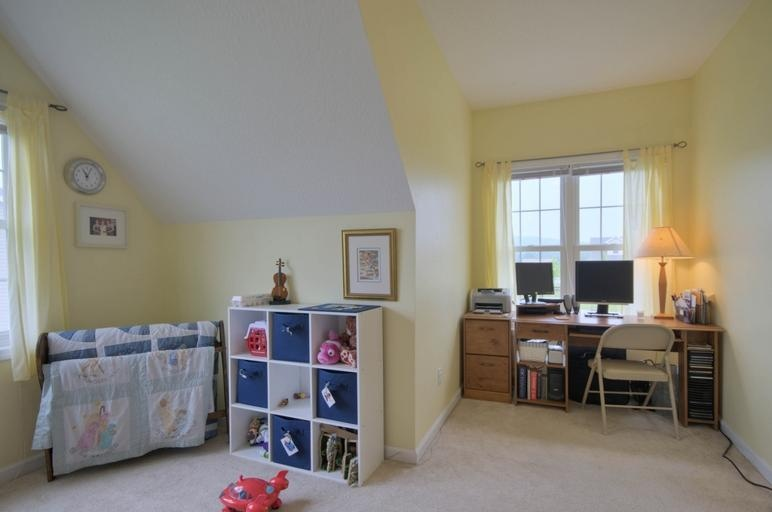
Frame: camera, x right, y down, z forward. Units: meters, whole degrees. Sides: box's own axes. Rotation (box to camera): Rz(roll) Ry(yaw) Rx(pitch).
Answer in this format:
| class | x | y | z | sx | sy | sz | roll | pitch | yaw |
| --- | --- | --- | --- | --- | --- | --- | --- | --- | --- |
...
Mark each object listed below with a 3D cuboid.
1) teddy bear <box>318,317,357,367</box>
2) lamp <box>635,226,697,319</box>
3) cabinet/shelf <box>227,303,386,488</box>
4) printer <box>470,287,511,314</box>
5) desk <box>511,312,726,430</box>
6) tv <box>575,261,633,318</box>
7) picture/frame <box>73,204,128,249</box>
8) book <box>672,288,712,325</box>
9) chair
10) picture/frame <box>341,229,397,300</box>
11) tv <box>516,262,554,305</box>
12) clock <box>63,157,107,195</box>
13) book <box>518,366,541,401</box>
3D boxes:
| class | x | y | z | sx | sy | sz | roll | pitch | yaw |
| --- | --- | --- | --- | --- | --- | --- | --- | --- | --- |
| teddy bear | -0.393 | 0.724 | 4.323 | 0.283 | 0.199 | 0.391 | -1 | 0 | 23 |
| lamp | 2.766 | 0.179 | 5.267 | 0.525 | 0.905 | 0.532 | -2 | -3 | 37 |
| cabinet/shelf | -0.699 | 1.107 | 4.526 | 1.304 | 1.330 | 0.470 | 0 | 1 | 27 |
| printer | 1.098 | 0.484 | 5.536 | 0.351 | 0.234 | 0.261 | -2 | -7 | 21 |
| desk | 2.262 | 1.086 | 5.138 | 1.765 | 0.914 | 0.586 | -1 | 3 | 32 |
| tv | 2.222 | 0.322 | 5.382 | 0.542 | 0.568 | 0.187 | 0 | -3 | 16 |
| picture/frame | -2.647 | -0.272 | 4.827 | 0.028 | 0.371 | 0.426 | -2 | -2 | 35 |
| book | 2.869 | 0.467 | 5.038 | 0.245 | 0.419 | 0.455 | -1 | 1 | -1 |
| chair | 2.188 | 1.031 | 4.593 | 0.660 | 0.929 | 0.731 | 3 | -8 | 15 |
| picture/frame | -0.129 | 0.066 | 4.498 | 0.584 | 0.710 | 0.051 | -1 | 1 | 17 |
| tv | 1.596 | 0.281 | 5.691 | 0.393 | 0.407 | 0.145 | -2 | -1 | 8 |
| clock | -2.728 | -0.720 | 4.727 | 0.113 | 0.389 | 0.356 | -7 | -4 | 26 |
| book | 1.439 | 1.270 | 5.389 | 0.265 | 0.377 | 0.371 | 0 | -3 | 16 |
